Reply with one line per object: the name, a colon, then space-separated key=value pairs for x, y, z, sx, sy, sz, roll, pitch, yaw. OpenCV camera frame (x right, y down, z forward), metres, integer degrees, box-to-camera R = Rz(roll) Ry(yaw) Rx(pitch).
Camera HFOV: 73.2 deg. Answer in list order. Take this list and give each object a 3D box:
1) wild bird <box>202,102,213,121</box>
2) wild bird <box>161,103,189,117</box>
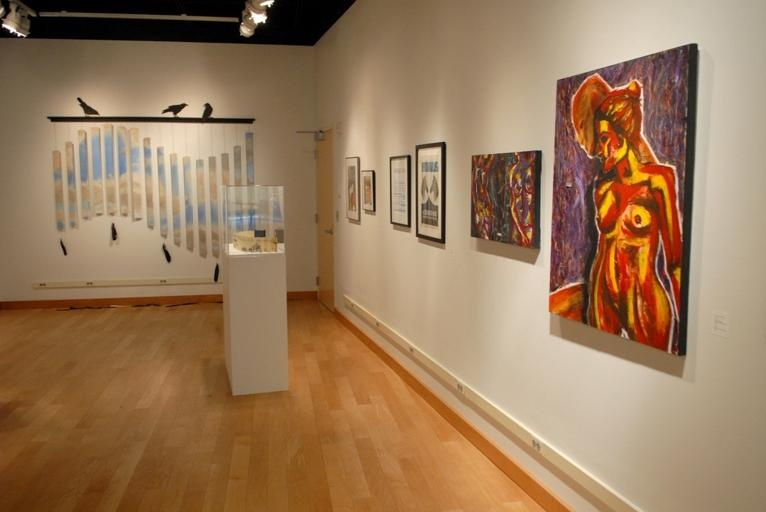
wild bird: x=-2.595 y=-2.110 z=7.598 sx=0.157 sy=0.261 sz=0.092 roll=-4 pitch=11 yaw=-21
wild bird: x=-3.046 y=-2.134 z=7.538 sx=0.343 sy=0.254 sz=0.163 roll=9 pitch=7 yaw=-23
